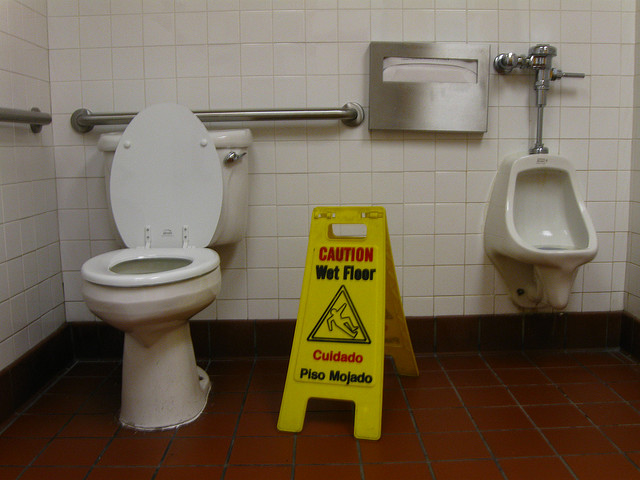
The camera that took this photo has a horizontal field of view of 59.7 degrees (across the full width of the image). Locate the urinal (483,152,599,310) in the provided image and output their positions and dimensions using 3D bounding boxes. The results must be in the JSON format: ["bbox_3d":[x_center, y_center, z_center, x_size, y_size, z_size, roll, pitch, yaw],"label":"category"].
[{"bbox_3d":[1.036,-0.003,2.662,0.485,0.786,0.346,4,14,14],"label":"urinal"}]

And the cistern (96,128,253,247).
[{"bbox_3d":[-0.663,-0.229,2.689,0.636,0.496,0.525,1,3,-4],"label":"cistern"}]

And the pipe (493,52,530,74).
[{"bbox_3d":[0.906,-0.833,2.641,0.154,0.075,0.072,-4,14,9],"label":"pipe"}]

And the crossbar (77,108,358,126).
[{"bbox_3d":[-0.468,-0.582,2.656,1.296,0.102,0.101,2,14,1],"label":"crossbar"}]

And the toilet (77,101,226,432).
[{"bbox_3d":[-0.675,0.086,2.375,0.563,1.282,0.620,-1,13,-10],"label":"toilet"}]

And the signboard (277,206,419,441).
[{"bbox_3d":[0.146,0.294,2.455,0.460,0.833,0.676,-1,2,24],"label":"signboard"}]
